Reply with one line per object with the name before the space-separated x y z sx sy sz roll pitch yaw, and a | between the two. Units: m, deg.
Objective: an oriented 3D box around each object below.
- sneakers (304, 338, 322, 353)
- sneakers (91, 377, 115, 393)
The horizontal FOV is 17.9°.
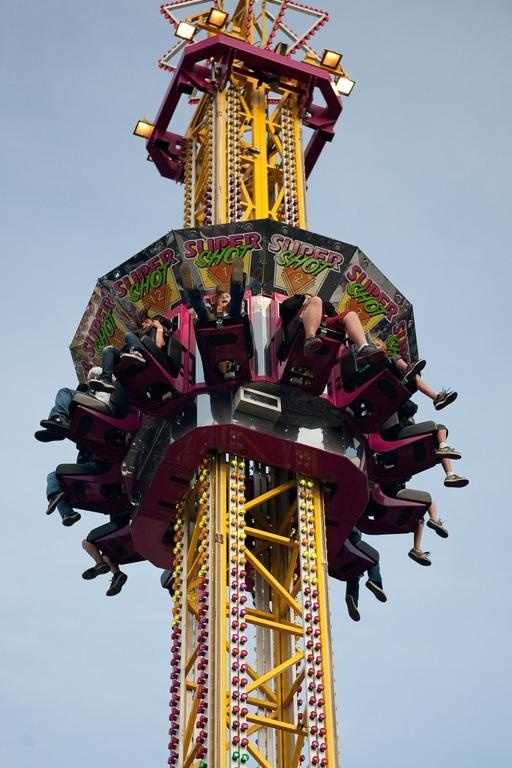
sneakers | 1.040 -0.698 30.068 0.168 0.191 0.427 -10 -34 -28
sneakers | -2.860 0.035 30.589 0.470 0.282 0.199 15 -83 -4
